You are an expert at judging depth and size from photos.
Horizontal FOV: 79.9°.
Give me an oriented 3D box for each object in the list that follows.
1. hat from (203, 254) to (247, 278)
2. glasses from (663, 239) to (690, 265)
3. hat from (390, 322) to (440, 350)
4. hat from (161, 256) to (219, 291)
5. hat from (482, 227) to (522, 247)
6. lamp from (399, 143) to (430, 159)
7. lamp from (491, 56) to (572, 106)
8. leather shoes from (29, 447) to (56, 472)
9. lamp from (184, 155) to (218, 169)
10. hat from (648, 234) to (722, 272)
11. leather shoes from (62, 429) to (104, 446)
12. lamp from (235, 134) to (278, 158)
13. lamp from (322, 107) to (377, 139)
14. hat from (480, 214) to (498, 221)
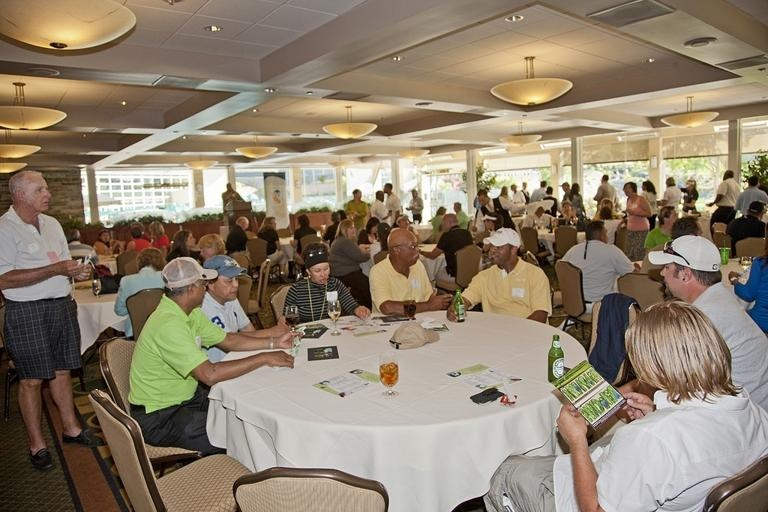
[{"bbox_3d":[-1.131,0.062,3.262,0.230,0.095,0.153,9,5,0],"label":"hat"},{"bbox_3d":[1.677,-0.013,2.622,0.120,0.035,0.123,40,17,20],"label":"glasses"},{"bbox_3d":[0.210,0.493,2.982,0.241,0.085,0.160,-10,13,-42],"label":"hat"},{"bbox_3d":[-1.191,0.103,2.801,0.265,0.132,0.179,-2,13,-29],"label":"hat"},{"bbox_3d":[0.964,-0.156,3.730,0.232,0.104,0.163,1,2,-1],"label":"hat"},{"bbox_3d":[1.143,-3.713,16.290,0.828,0.213,0.812,-1,5,-10],"label":"lamp"},{"bbox_3d":[2.268,-2.684,7.030,1.168,0.698,1.139,-4,7,-13],"label":"lamp"},{"bbox_3d":[-2.574,1.537,3.488,0.117,0.086,0.222,0,16,-46],"label":"leather shoes"},{"bbox_3d":[-6.177,-3.151,15.589,0.695,0.174,0.682,0,-1,-28],"label":"lamp"},{"bbox_3d":[1.699,-0.012,2.601,0.318,0.156,0.241,9,10,34],"label":"hat"},{"bbox_3d":[-2.410,1.474,3.764,0.343,0.131,0.140,3,-1,-13],"label":"leather shoes"},{"bbox_3d":[-3.606,-2.965,12.939,1.012,0.641,1.001,-1,3,3],"label":"lamp"},{"bbox_3d":[-0.725,-2.918,9.740,1.087,0.662,1.078,-1,-1,5],"label":"lamp"},{"bbox_3d":[1.824,-0.674,8.007,0.255,0.128,0.403,-1,4,-29],"label":"hat"}]
